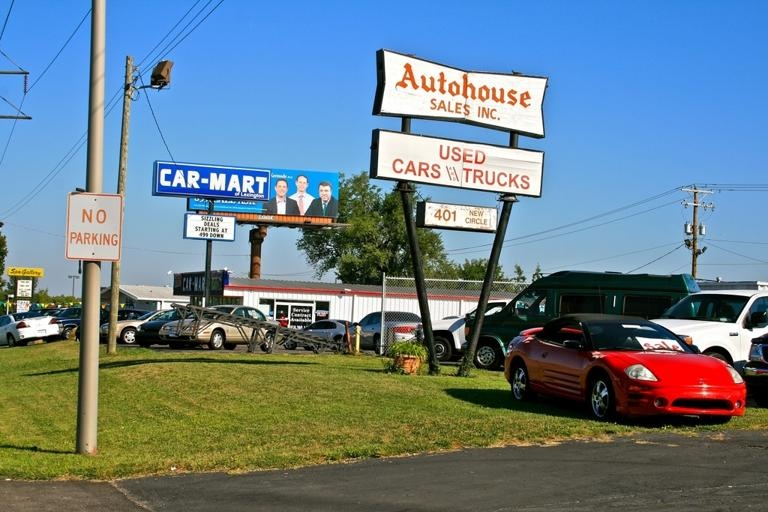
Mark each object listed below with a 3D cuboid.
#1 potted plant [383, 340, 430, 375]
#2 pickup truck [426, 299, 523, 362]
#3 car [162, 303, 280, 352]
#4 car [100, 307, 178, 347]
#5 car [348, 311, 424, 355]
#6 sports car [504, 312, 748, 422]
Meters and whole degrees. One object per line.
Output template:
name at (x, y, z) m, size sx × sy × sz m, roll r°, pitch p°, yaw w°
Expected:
potted plant at (0.573, 2.568, 23.589) m, size 0.875 × 0.633 × 0.853 m, roll 1°, pitch -3°, yaw 5°
pickup truck at (2.333, 2.455, 29.845) m, size 2.685 × 1.421 × 1.703 m, roll 0°, pitch -4°, yaw 6°
car at (-6.051, 2.629, 34.567) m, size 3.837 × 1.727 × 4.882 m, roll 4°, pitch -6°, yaw -14°
car at (-10.357, 2.900, 37.973) m, size 4.326 × 1.448 × 1.661 m, roll 2°, pitch -3°, yaw -40°
car at (-0.032, 3.042, 36.961) m, size 1.627 × 1.557 × 3.629 m, roll 2°, pitch -3°, yaw -40°
sports car at (4.571, 2.150, 18.215) m, size 1.840 × 1.998 × 4.152 m, roll 7°, pitch -8°, yaw -37°
